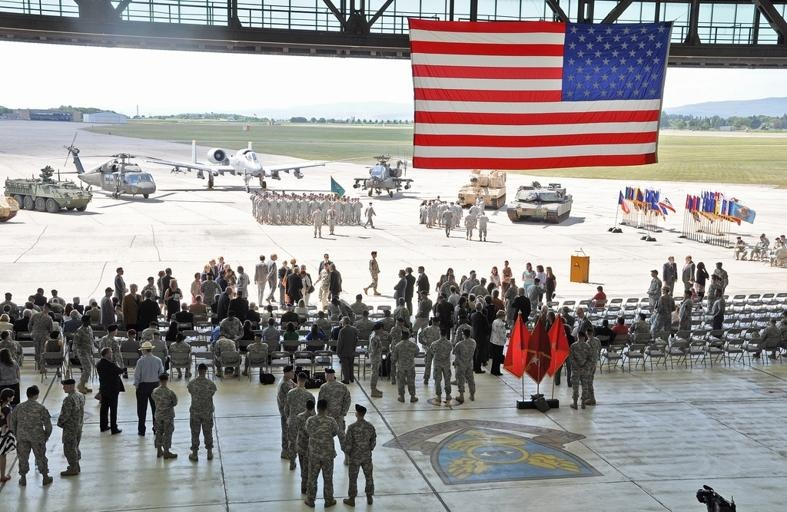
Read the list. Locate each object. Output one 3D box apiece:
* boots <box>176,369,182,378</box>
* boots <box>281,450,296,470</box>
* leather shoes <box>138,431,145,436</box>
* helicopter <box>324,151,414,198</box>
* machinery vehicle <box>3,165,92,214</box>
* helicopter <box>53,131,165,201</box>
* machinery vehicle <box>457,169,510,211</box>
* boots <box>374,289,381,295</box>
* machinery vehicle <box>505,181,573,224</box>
[{"bbox_3d":[-6.055,3.354,31.719,0.121,0.141,0.375,6,5,-9],"label":"boots"},{"bbox_3d":[-2.587,5.070,27.934,0.311,0.465,0.539,-2,3,-20],"label":"boots"},{"bbox_3d":[-6.491,4.590,28.877,0.129,0.093,0.099,5,-7,-25],"label":"leather shoes"},{"bbox_3d":[-0.453,-5.156,70.624,6.026,2.688,6.427,4,-5,-1],"label":"helicopter"},{"bbox_3d":[-18.006,-3.404,58.783,4.326,2.089,2.399,8,14,31],"label":"machinery vehicle"},{"bbox_3d":[-16.011,-4.820,66.189,4.488,2.250,4.870,-17,23,-39],"label":"helicopter"},{"bbox_3d":[5.393,-3.964,65.488,2.215,1.742,3.883,6,13,17],"label":"machinery vehicle"},{"bbox_3d":[-0.559,1.323,40.291,0.267,0.206,0.100,-11,22,-24],"label":"boots"},{"bbox_3d":[7.869,-2.779,60.449,3.285,2.179,4.963,6,2,19],"label":"machinery vehicle"}]
